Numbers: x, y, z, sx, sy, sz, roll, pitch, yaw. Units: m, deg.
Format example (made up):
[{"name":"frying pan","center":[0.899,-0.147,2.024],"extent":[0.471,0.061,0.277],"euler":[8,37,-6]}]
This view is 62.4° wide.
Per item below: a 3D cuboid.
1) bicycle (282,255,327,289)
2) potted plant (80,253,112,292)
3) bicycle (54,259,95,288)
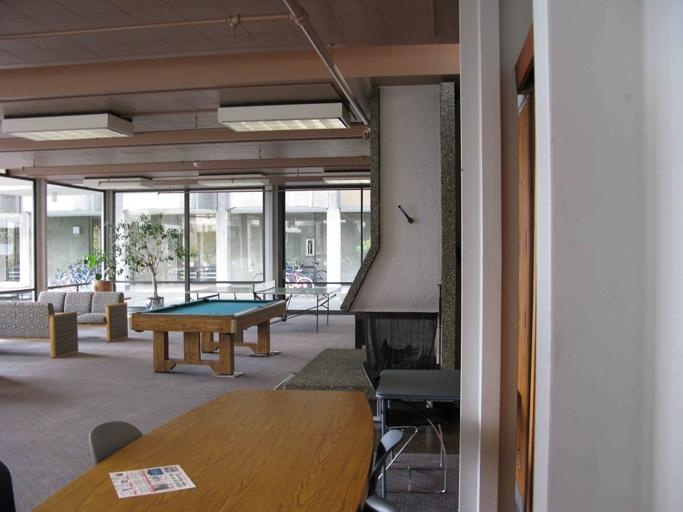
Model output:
[{"name":"bicycle","center":[-0.856,0.374,13.109],"extent":[1.022,0.704,0.536],"euler":[-1,2,2]},{"name":"potted plant","center":[-5.484,0.358,12.541],"extent":[0.719,0.927,0.630],"euler":[2,8,25]},{"name":"bicycle","center":[-5.967,0.425,12.874],"extent":[0.583,0.625,0.963],"euler":[13,-2,38]}]
